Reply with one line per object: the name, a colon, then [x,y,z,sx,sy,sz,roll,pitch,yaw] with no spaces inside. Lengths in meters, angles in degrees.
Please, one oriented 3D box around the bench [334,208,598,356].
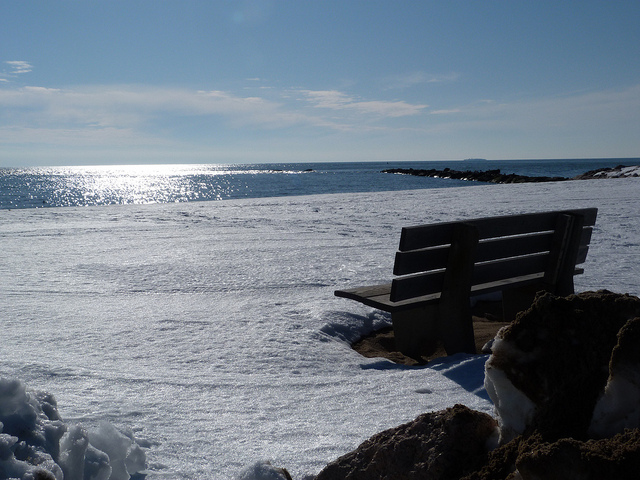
bench: [1.337,0.334,4.991,2.013,1.092,0.559,-8,13,-28]
